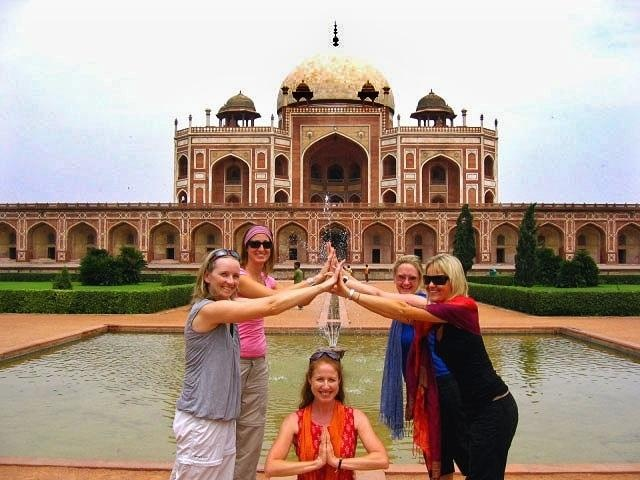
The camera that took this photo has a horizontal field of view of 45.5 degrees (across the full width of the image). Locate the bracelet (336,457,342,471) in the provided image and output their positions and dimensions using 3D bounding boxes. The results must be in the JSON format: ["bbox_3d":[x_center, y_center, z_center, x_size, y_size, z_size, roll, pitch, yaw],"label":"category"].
[{"bbox_3d":[0.163,1.846,6.234,0.044,0.074,0.074,4,23,8],"label":"bracelet"}]

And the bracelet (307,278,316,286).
[{"bbox_3d":[-0.072,0.375,6.735,0.061,0.063,0.040,0,7,9],"label":"bracelet"}]
